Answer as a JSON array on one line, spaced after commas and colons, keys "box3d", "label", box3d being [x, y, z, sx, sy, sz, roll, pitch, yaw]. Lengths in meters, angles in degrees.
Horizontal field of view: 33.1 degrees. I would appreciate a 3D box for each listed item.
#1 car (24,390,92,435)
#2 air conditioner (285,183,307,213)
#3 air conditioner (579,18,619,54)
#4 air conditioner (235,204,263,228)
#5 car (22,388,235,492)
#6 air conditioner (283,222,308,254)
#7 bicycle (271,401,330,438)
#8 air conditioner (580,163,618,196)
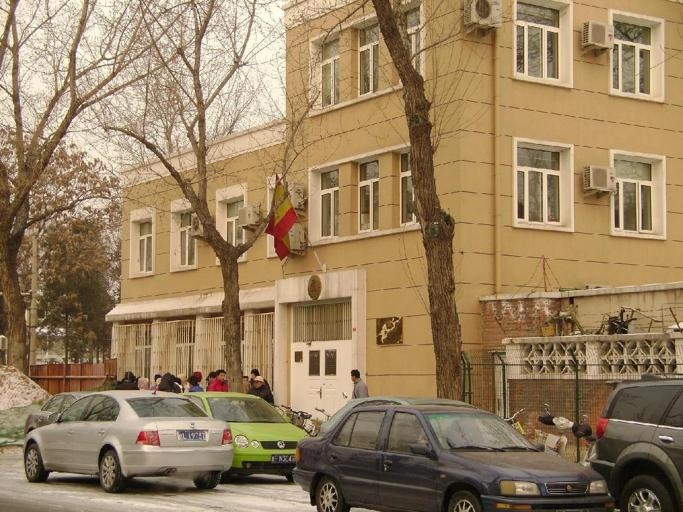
[{"box3d": [-6.963, 3.637, 26.882, 2.114, 0.916, 0.921, -9, -9, 39], "label": "car"}, {"box3d": [-1.345, -1.828, 35.484, 0.625, 1.413, 0.787, 0, -2, -13], "label": "air conditioner"}, {"box3d": [7.326, -6.250, 32.898, 0.932, 0.745, 0.494, 6, -13, -28], "label": "air conditioner"}, {"box3d": [-2.974, -1.101, 37.233, 0.537, 1.035, 1.058, 6, -9, -27], "label": "air conditioner"}, {"box3d": [-4.511, 3.839, 23.871, 4.294, 2.146, 1.560, -8, -13, 27], "label": "car"}, {"box3d": [-1.478, -0.559, 35.425, 0.684, 1.536, 0.771, -1, 0, 31], "label": "air conditioner"}, {"box3d": [-1.002, 4.203, 29.646, 1.025, 1.100, 1.586, 4, -5, 29], "label": "bicycle"}, {"box3d": [7.308, -2.073, 32.712, 1.068, 1.197, 0.643, 4, -7, -28], "label": "air conditioner"}]
